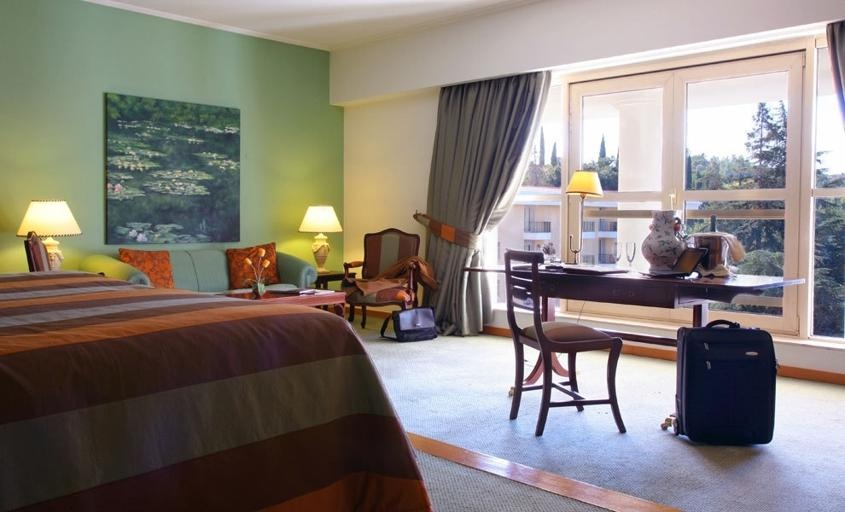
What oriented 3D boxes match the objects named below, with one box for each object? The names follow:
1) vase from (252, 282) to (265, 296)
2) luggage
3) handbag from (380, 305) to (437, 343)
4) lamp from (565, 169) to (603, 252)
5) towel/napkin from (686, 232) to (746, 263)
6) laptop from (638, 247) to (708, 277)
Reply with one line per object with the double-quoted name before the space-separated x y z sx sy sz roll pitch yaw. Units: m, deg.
"vase" -1.635 0.339 5.752 0.146 0.139 0.121 -1 2 -25
"luggage" 2.020 0.872 3.856 0.844 0.808 0.465 0 -3 6
"handbag" -0.184 0.815 6.488 0.635 0.363 0.373 4 -13 -29
"lamp" 1.612 -0.396 5.769 0.328 0.923 1.031 3 11 15
"towel/napkin" 2.105 -0.042 4.109 0.323 0.192 0.264 0 2 43
"laptop" 1.819 0.064 4.062 0.252 0.152 0.258 0 -2 -14
